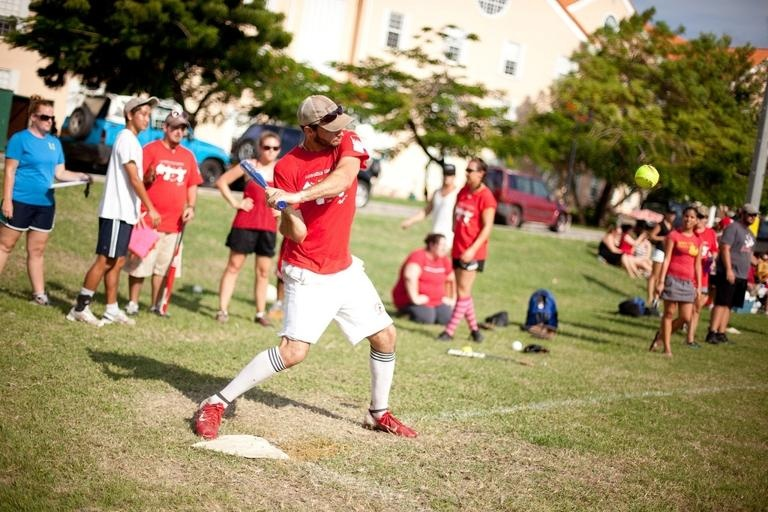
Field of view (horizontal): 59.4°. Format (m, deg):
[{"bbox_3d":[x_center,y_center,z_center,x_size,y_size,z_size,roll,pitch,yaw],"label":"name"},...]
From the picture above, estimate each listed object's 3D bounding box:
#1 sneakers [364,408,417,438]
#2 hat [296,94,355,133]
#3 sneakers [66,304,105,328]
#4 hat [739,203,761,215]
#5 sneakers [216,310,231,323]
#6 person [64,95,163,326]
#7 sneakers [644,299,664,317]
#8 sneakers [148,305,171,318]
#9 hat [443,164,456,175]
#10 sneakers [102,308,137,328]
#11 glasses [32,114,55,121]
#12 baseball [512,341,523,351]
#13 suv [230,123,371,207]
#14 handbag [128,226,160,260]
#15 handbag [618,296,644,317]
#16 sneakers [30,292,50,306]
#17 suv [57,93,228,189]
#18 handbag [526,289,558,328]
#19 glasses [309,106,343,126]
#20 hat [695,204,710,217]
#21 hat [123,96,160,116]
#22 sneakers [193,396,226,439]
[{"bbox_3d":[0.059,1.671,6.786,0.548,0.240,0.217,13,6,8],"label":"sneakers"},{"bbox_3d":[-0.514,-1.275,5.999,0.520,0.272,0.357,15,36,27],"label":"hat"},{"bbox_3d":[-3.533,0.736,8.126,0.485,0.265,0.185,12,6,-22],"label":"sneakers"},{"bbox_3d":[5.272,-0.687,9.748,0.154,0.116,0.205,-9,18,-41],"label":"hat"},{"bbox_3d":[-2.240,0.853,9.427,0.154,0.128,0.296,1,-2,-6],"label":"sneakers"},{"bbox_3d":[-3.151,-0.533,8.070,0.789,2.493,0.570,8,1,-24],"label":"person"},{"bbox_3d":[4.771,0.937,12.041,0.248,0.199,0.420,-1,1,8],"label":"sneakers"},{"bbox_3d":[-2.975,0.744,9.002,0.294,0.139,0.109,17,22,33],"label":"sneakers"},{"bbox_3d":[1.027,-1.340,10.591,0.166,0.179,0.166,-1,-2,-6],"label":"hat"},{"bbox_3d":[-3.293,0.777,8.343,0.443,0.215,0.167,3,7,-33],"label":"sneakers"},{"bbox_3d":[-3.966,-1.619,7.928,0.208,0.073,0.127,8,1,-44],"label":"glasses"},{"bbox_3d":[1.911,1.298,9.691,0.124,0.073,0.128,1,5,34],"label":"baseball"},{"bbox_3d":[-1.921,-2.048,15.482,3.479,1.821,1.988,0,12,1],"label":"suv"},{"bbox_3d":[-2.993,-0.166,8.367,0.356,0.367,0.117,37,-22,-23],"label":"handbag"},{"bbox_3d":[4.318,0.891,11.750,0.393,0.318,0.176,9,-21,-3],"label":"handbag"},{"bbox_3d":[-4.182,0.527,8.235,0.235,0.117,0.098,5,5,22],"label":"sneakers"},{"bbox_3d":[-3.561,-2.047,11.218,2.252,1.181,1.138,8,26,-22],"label":"suv"},{"bbox_3d":[2.481,0.876,10.586,0.530,0.733,0.379,2,-26,13],"label":"handbag"},{"bbox_3d":[-0.474,-1.226,5.924,0.180,0.056,0.188,-21,14,39],"label":"glasses"},{"bbox_3d":[4.445,-0.630,9.459,0.138,0.156,0.196,-20,16,20],"label":"hat"},{"bbox_3d":[-2.854,-1.785,7.936,0.310,0.108,0.215,-16,4,-5],"label":"hat"},{"bbox_3d":[-1.605,1.513,6.318,0.217,0.284,0.614,30,4,-23],"label":"sneakers"}]
